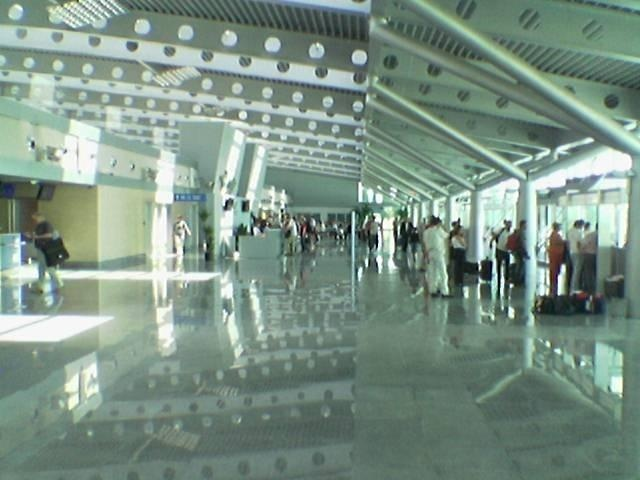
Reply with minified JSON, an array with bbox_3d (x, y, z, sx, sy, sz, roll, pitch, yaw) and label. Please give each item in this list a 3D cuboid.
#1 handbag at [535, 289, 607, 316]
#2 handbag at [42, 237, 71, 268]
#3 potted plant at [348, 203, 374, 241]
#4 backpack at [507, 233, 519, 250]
[{"bbox_3d":[5.072,1.309,11.500,1.281,0.436,0.412,-1,-2,-1],"label":"handbag"},{"bbox_3d":[-6.358,0.304,13.637,0.556,0.711,0.306,0,-2,-24],"label":"handbag"},{"bbox_3d":[3.170,-1.456,47.513,2.608,4.167,2.835,2,-4,8],"label":"potted plant"},{"bbox_3d":[5.220,0.056,15.208,0.203,0.413,0.276,19,-17,1],"label":"backpack"}]
